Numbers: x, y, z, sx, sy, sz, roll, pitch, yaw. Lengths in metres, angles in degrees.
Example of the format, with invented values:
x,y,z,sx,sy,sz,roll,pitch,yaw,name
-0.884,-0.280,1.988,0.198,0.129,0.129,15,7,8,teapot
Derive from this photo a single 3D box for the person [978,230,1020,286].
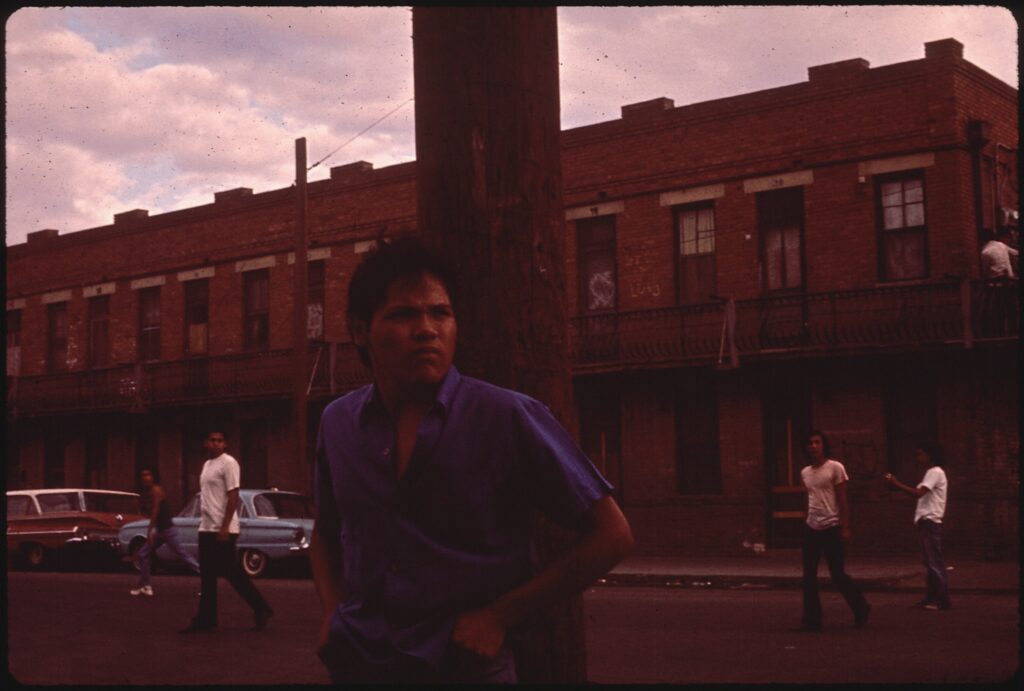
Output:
x,y,z,sx,sy,sz,roll,pitch,yaw,name
9.842,-1.796,23.458,0.663,1.119,1.703,2,2,21,person

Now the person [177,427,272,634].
x,y,z,sx,sy,sz,roll,pitch,yaw,name
-3.516,2.322,14.350,0.950,2.559,1.031,1,3,-15,person

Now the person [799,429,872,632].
x,y,z,sx,sy,sz,roll,pitch,yaw,name
3.963,2.287,14.237,0.796,2.319,0.899,2,3,13,person
